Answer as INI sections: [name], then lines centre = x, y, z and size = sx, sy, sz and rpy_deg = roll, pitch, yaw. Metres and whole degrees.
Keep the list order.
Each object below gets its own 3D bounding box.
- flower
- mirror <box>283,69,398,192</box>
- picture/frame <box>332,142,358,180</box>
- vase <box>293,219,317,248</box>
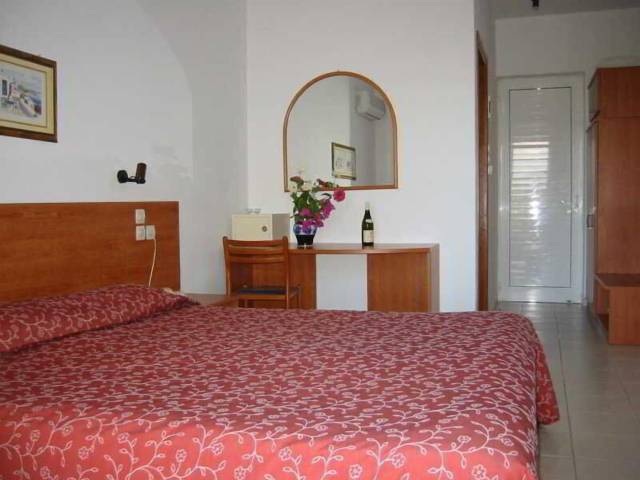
[flower]
centre = -0.045, -0.316, 3.744
size = 0.435, 0.343, 0.457
rpy_deg = -1, 20, 5
[mirror]
centre = 0.207, -0.929, 3.892
size = 1.001, 1.113, 0.042
rpy_deg = 0, 2, 10
[picture/frame]
centre = 0.212, -0.665, 3.887
size = 0.286, 0.366, 0.025
rpy_deg = 1, 0, 14
[vase]
centre = -0.123, -0.050, 3.543
size = 0.180, 0.192, 0.189
rpy_deg = 0, 4, -4
